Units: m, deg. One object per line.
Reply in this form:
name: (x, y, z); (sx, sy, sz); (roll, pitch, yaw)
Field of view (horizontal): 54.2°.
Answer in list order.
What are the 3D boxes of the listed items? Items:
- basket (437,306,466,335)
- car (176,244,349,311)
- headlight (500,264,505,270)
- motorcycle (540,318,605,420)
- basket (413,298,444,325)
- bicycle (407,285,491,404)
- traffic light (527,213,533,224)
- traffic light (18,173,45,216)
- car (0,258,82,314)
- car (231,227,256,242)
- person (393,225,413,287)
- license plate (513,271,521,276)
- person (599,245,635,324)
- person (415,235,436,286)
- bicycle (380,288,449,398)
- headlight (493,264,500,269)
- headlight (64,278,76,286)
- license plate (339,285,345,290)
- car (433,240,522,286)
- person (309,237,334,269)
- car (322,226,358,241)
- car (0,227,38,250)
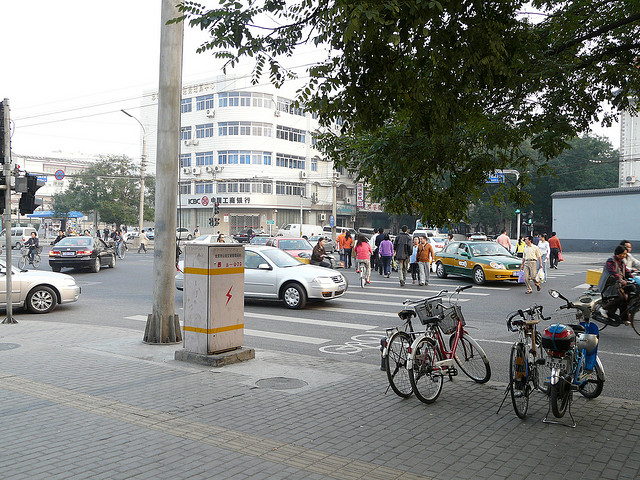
basket: (1.814, 1.148, 9.022); (0.409, 0.389, 0.334); (-16, -4, -5)
car: (-1.433, 0.998, 17.254); (4.184, 1.602, 1.889); (-1, 0, 20)
headlight: (6.303, 0.921, 21.707); (0.167, 0.146, 0.103); (0, 3, -8)
motorcycle: (3.366, 1.578, 8.340); (0.621, 1.015, 1.566); (-3, 0, 26)
basket: (1.546, 1.012, 8.888); (0.453, 0.335, 0.246); (-1, 3, -14)
bicycle: (1.875, 1.450, 9.014); (0.871, 1.386, 2.079); (-27, -16, 38)
traffic light: (11.040, -1.145, 32.972); (0.175, 0.566, 0.449); (2, 4, 33)
traffic light: (-6.627, -1.061, 14.349); (0.517, 0.949, 1.277); (-2, 3, -25)
car: (-7.020, 1.261, 15.640); (2.168, 0.897, 0.943); (-2, 3, -21)
car: (-6.539, -0.482, 53.045); (2.317, 1.031, 1.538); (3, 5, 30)
person: (2.871, 0.550, 21.798); (0.619, 2.109, 1.593); (0, 3, 9)
license plate: (6.832, 1.169, 21.793); (0.143, 0.173, 0.293); (3, 4, 41)
person: (6.000, 0.905, 12.688); (0.579, 1.559, 0.942); (2, 4, 30)
person: (3.659, 0.717, 22.047); (0.642, 1.747, 1.008); (0, 3, 9)
bicycle: (1.293, 1.457, 8.901); (0.899, 1.470, 1.151); (1, 3, 20)
headlight: (6.109, 0.920, 21.685); (0.195, 0.145, 0.085); (0, 3, 3)
headlight: (-6.485, 1.084, 16.206); (0.188, 0.188, 0.337); (0, 3, 0)
license plate: (0.575, 1.259, 16.683); (0.023, 0.122, 0.303); (2, 3, 27)
car: (5.806, 0.762, 23.076); (1.683, 1.135, 2.977); (1, -1, -28)
person: (-0.053, 0.506, 22.078); (1.001, 1.628, 0.776); (1, 10, -3)
car: (1.471, -0.358, 51.543); (2.037, 1.167, 1.393); (-3, 2, 19)
car: (-16.997, -0.073, 35.343); (2.106, 1.133, 1.306); (7, 7, 29)
